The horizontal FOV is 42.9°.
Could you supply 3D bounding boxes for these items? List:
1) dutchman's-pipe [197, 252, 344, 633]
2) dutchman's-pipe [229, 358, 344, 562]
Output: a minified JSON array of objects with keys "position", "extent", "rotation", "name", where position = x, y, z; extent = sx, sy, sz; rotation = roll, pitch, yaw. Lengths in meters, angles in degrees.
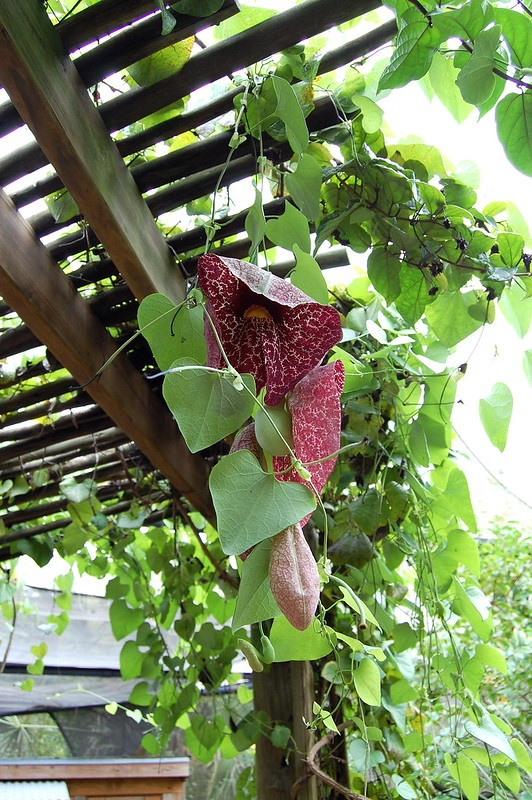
[{"position":[-0.008,0.031,0.511],"extent":[0.121,0.256,0.091],"rotation":[-4,-6,-15],"name":"dutchman's-pipe"},{"position":[0.019,0.048,0.521],"extent":[0.092,0.140,0.035],"rotation":[23,-24,-12],"name":"dutchman's-pipe"}]
